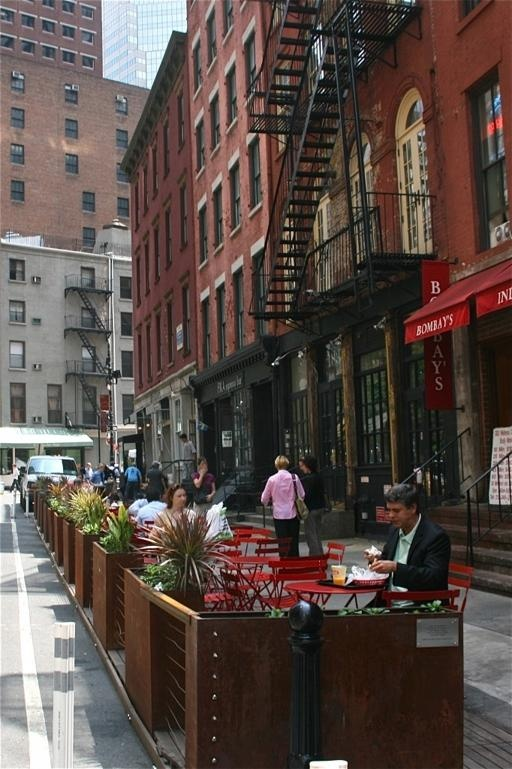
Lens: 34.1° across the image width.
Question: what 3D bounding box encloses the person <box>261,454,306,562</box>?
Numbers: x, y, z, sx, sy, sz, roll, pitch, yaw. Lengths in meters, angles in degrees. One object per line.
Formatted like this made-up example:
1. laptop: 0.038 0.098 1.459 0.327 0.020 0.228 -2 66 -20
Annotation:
1. person: 0.422 1.779 11.866 0.534 1.734 0.480 -2 12 5

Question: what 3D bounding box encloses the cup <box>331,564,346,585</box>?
1. cup: 0.598 1.375 6.029 0.108 0.154 0.138 0 -17 0
